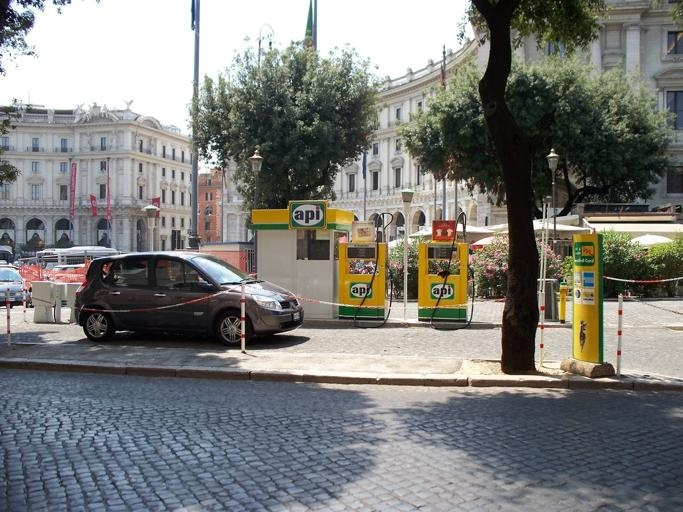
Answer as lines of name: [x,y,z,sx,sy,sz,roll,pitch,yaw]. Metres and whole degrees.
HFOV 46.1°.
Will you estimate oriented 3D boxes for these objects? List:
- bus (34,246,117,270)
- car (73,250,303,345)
bus: [-15.692,0.061,46.566,5.139,1.796,1.667,-2,6,-25]
car: [-3.288,0.896,17.131,3.973,1.556,2.141,-1,-1,10]
